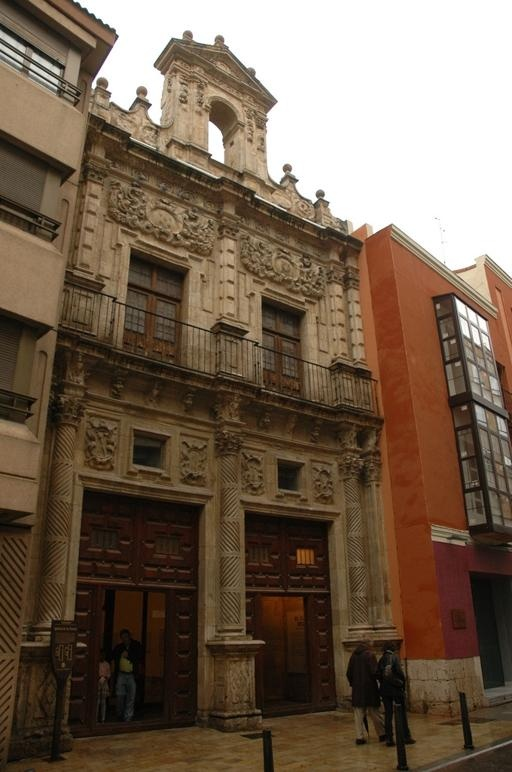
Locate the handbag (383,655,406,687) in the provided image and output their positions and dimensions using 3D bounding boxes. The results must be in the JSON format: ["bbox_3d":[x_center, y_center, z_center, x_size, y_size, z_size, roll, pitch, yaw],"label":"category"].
[{"bbox_3d":[1.888,3.902,7.401,0.129,0.387,0.270,-19,-18,-1],"label":"handbag"}]

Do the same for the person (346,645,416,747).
[{"bbox_3d":[1.718,4.356,7.683,0.641,1.277,1.095,4,-23,-9],"label":"person"}]
